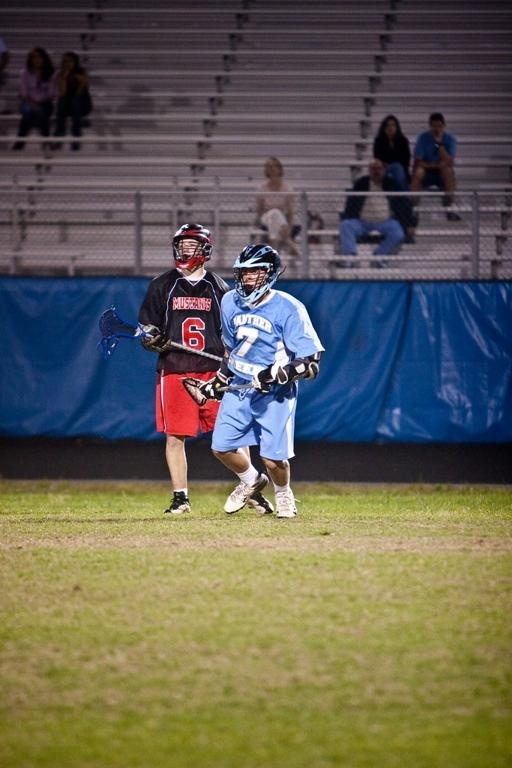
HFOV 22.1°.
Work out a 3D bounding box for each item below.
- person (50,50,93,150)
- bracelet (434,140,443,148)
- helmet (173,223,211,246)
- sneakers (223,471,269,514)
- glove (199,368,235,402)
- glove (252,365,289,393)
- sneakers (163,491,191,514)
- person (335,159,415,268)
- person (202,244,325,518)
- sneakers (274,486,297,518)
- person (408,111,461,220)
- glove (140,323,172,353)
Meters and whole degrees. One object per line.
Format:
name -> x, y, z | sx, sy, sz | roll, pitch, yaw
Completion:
person -> -1.735, -2.618, 12.347 | 0.354, 0.901, 0.857 | 0, 13, -9
bracelet -> 1.598, -2.084, 11.517 | 0.075, 0.072, 0.020 | 0, -3, 23
helmet -> -0.445, -1.044, 9.250 | 0.222, 0.108, 0.153 | 10, -6, -37
sneakers -> -0.077, 0.769, 9.256 | 0.337, 0.113, 0.157 | -44, -11, 27
glove -> -0.339, 0.012, 8.807 | 0.114, 0.233, 0.331 | 34, -18, -30
glove -> 0.083, -0.039, 8.509 | 0.225, 0.137, 0.096 | -31, 1, 16
sneakers -> -0.553, 0.818, 9.085 | 0.167, 0.213, 0.193 | 1, 13, -7
person -> 0.972, -1.478, 11.185 | 0.768, 1.049, 0.854 | 4, 21, 3
person -> 0.011, 0.055, 8.686 | 0.799, 1.883, 0.452 | 5, 14, 10
sneakers -> 0.194, 0.792, 8.886 | 0.097, 0.119, 0.279 | -8, 14, 6
person -> 1.586, -1.884, 11.491 | 0.440, 0.883, 0.723 | 4, 13, 6
glove -> -0.687, -0.297, 9.025 | 0.148, 0.077, 0.199 | 11, -28, 39
